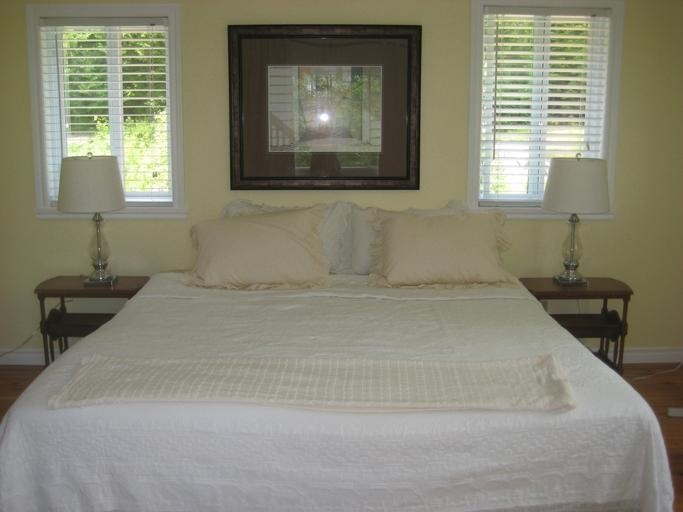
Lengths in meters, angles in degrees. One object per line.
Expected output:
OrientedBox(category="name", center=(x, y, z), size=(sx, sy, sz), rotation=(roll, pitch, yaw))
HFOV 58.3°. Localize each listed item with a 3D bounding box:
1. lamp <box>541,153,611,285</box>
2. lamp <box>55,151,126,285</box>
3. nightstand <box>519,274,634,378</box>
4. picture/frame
OrientedBox(category="lamp", center=(1.444, -0.230, 3.805), size=(0.381, 0.777, 0.279), rotation=(-1, 11, 1))
OrientedBox(category="lamp", center=(-1.525, -0.226, 3.765), size=(0.375, 0.773, 0.250), rotation=(-6, 12, -25))
OrientedBox(category="nightstand", center=(1.522, 0.330, 3.973), size=(0.801, 0.765, 0.570), rotation=(-1, 9, 1))
OrientedBox(category="picture/frame", center=(-0.132, -1.017, 3.954), size=(1.027, 0.888, 0.067), rotation=(0, 6, -2))
